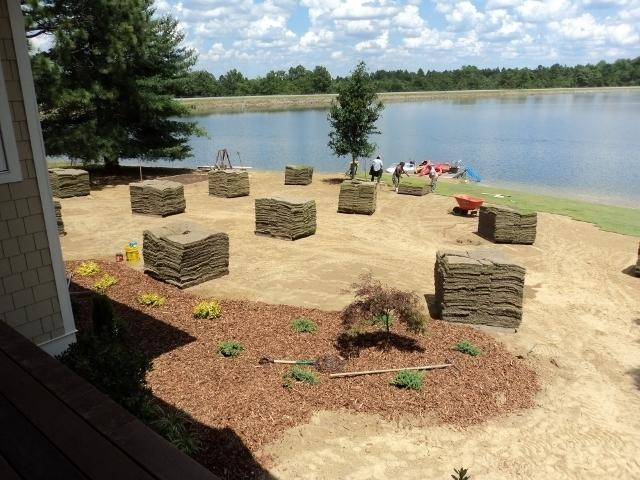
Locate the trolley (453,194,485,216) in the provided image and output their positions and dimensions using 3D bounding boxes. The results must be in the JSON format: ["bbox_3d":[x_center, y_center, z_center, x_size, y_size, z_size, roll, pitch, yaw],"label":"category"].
[{"bbox_3d":[8.255,-1.895,24.872,1.007,0.948,1.578,-15,27,-33],"label":"trolley"}]

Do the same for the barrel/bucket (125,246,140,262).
[{"bbox_3d":[-6.973,0.491,16.887,0.594,0.495,0.542,2,13,-1],"label":"barrel/bucket"}]

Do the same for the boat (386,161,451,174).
[{"bbox_3d":[9.203,-6.400,40.493,4.417,1.166,2.432,1,9,-5],"label":"boat"}]

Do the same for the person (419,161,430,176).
[{"bbox_3d":[9.320,-6.450,40.401,0.769,0.591,2.000,8,36,26],"label":"person"}]
